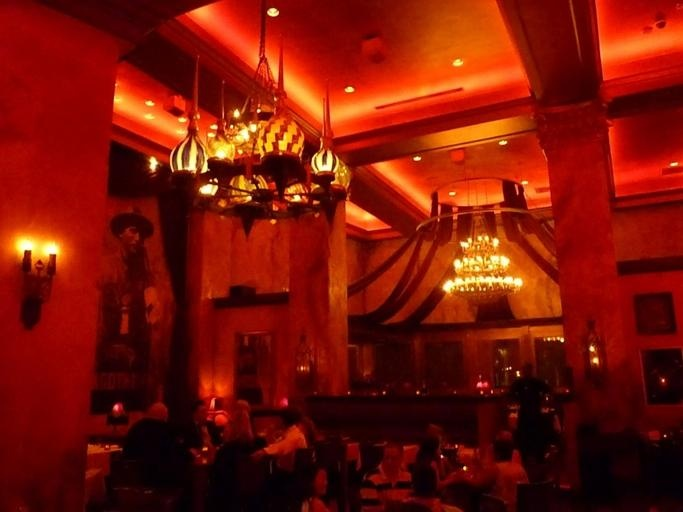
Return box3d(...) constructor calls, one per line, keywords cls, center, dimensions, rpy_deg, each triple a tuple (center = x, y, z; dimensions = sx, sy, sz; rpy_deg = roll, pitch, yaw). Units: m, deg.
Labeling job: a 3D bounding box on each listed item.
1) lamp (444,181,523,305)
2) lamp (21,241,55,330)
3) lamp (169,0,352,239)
box3d(cls="lamp", center=(2.645, -0.098, 11.457), dimensions=(1.188, 1.847, 0.750), rpy_deg=(-4, -14, 16))
box3d(cls="lamp", center=(-2.802, 0.278, 5.511), dimensions=(0.302, 0.776, 0.176), rpy_deg=(9, -16, -32))
box3d(cls="lamp", center=(-0.794, -1.788, 6.748), dimensions=(1.600, 3.178, 1.567), rpy_deg=(-6, -15, 24))
